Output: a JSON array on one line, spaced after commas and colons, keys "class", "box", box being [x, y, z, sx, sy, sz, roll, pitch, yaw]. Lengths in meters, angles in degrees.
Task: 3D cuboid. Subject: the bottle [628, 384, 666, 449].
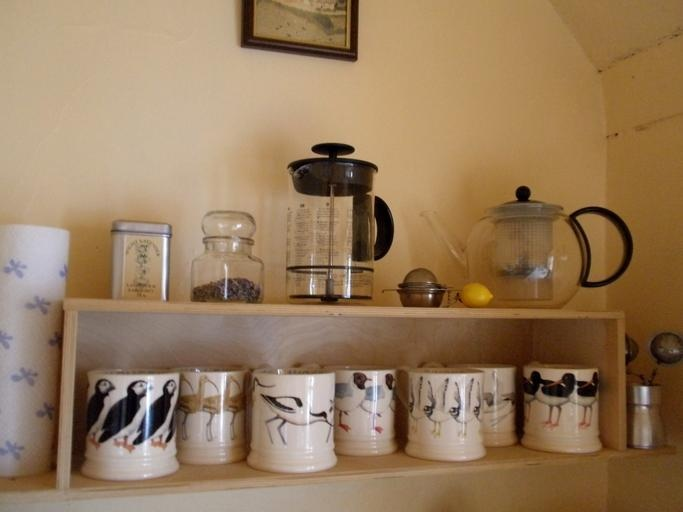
[{"class": "bottle", "box": [0.692, 0.367, 1.455, 0.104, 0.152, 0.107, 2, -7, 0]}]

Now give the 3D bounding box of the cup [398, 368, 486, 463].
[{"class": "cup", "box": [0.214, 0.344, 1.397, 0.172, 0.185, 0.175, 1, -5, 0]}]

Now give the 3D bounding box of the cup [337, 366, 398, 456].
[{"class": "cup", "box": [0.051, 0.346, 1.401, 0.152, 0.171, 0.162, 0, -4, 0]}]

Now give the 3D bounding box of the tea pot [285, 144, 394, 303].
[{"class": "tea pot", "box": [-0.019, -0.052, 1.358, 0.189, 0.302, 0.103, 1, -3, -9]}]

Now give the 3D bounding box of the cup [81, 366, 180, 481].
[{"class": "cup", "box": [-0.416, 0.334, 1.254, 0.174, 0.195, 0.186, 3, -6, 0]}]

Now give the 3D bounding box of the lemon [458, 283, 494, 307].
[{"class": "lemon", "box": [0.289, 0.076, 1.367, 0.062, 0.049, 0.048, 5, 27, 12]}]

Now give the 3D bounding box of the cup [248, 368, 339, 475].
[{"class": "cup", "box": [-0.103, 0.337, 1.310, 0.184, 0.193, 0.197, 2, -9, 0]}]

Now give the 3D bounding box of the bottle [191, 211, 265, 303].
[{"class": "bottle", "box": [-0.234, 0.020, 1.319, 0.181, 0.209, 0.177, 6, -8, -39]}]

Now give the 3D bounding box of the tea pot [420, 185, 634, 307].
[{"class": "tea pot", "box": [0.447, -0.014, 1.495, 0.439, 0.287, 0.275, -2, -3, 20]}]

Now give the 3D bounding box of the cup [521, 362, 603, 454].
[{"class": "cup", "box": [0.501, 0.344, 1.447, 0.175, 0.192, 0.173, 1, -3, 0]}]
